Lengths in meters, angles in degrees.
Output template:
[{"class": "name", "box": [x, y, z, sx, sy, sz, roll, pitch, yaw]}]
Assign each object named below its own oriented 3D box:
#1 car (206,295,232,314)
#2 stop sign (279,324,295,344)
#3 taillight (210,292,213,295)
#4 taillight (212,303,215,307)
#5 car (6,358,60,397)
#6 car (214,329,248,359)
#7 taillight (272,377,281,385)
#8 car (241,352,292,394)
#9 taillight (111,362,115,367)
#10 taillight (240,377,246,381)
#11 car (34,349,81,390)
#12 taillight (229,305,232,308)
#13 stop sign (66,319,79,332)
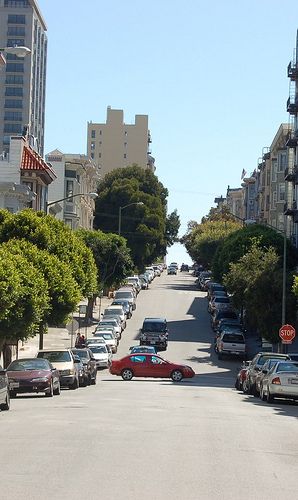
[{"class": "car", "box": [5.312, 4.077, 58.894, 1.355, 1.470, 2.622, 2, 6, 1]}, {"class": "stop sign", "box": [5.757, 3.529, 32.797, 0.507, 0.759, 0.764, 2, -3, 34]}, {"class": "taillight", "box": [5.565, 3.858, 70.215, 0.232, 0.091, 0.255, -1, 8, -2]}, {"class": "taillight", "box": [4.866, 4.158, 59.391, 0.172, 0.277, 0.103, -5, -10, 21]}, {"class": "car", "box": [-3.213, 3.548, 21.769, 1.398, 0.782, 1.734, 5, -3, -10]}, {"class": "car", "box": [4.401, 5.086, 41.561, 1.644, 1.478, 0.898, 3, -2, 23]}, {"class": "taillight", "box": [3.179, 3.267, 19.637, 0.037, 0.183, 0.305, 4, -2, -33]}, {"class": "car", "box": [3.717, 3.874, 25.264, 0.821, 1.034, 1.839, 2, 0, -2]}, {"class": "taillight", "box": [-1.421, 4.493, 30.990, 0.101, 0.099, 0.486, 4, -3, -10]}, {"class": "taillight", "box": [3.268, 4.462, 27.252, 0.151, 0.199, 0.156, 2, -6, -7]}, {"class": "car", "box": [-2.815, 3.832, 25.770, 0.910, 0.849, 1.744, -1, -10, 3]}, {"class": "taillight", "box": [5.883, 4.109, 57.305, 0.223, 0.264, 0.436, 3, -4, -1]}, {"class": "stop sign", "box": [-3.436, 3.443, 36.242, 0.037, 0.590, 0.519, 18, -25, -40]}]
